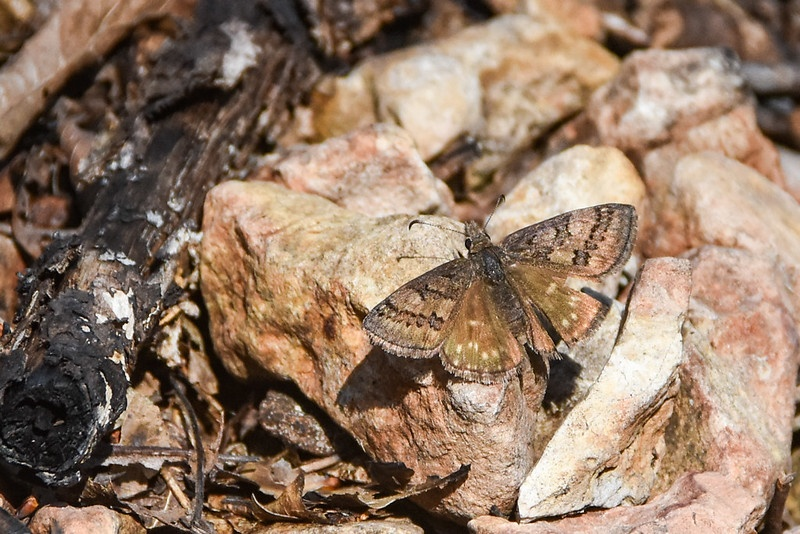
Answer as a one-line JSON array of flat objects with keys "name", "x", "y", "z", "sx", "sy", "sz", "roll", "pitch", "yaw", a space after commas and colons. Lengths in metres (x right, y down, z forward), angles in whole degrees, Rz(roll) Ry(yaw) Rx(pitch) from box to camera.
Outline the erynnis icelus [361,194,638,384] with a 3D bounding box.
[{"name": "erynnis icelus", "x": 0.814, "y": 0.258, "z": 8.542, "sx": 1.798, "sy": 0.495, "sz": 1.477, "roll": -22, "pitch": 79, "yaw": -4}]
